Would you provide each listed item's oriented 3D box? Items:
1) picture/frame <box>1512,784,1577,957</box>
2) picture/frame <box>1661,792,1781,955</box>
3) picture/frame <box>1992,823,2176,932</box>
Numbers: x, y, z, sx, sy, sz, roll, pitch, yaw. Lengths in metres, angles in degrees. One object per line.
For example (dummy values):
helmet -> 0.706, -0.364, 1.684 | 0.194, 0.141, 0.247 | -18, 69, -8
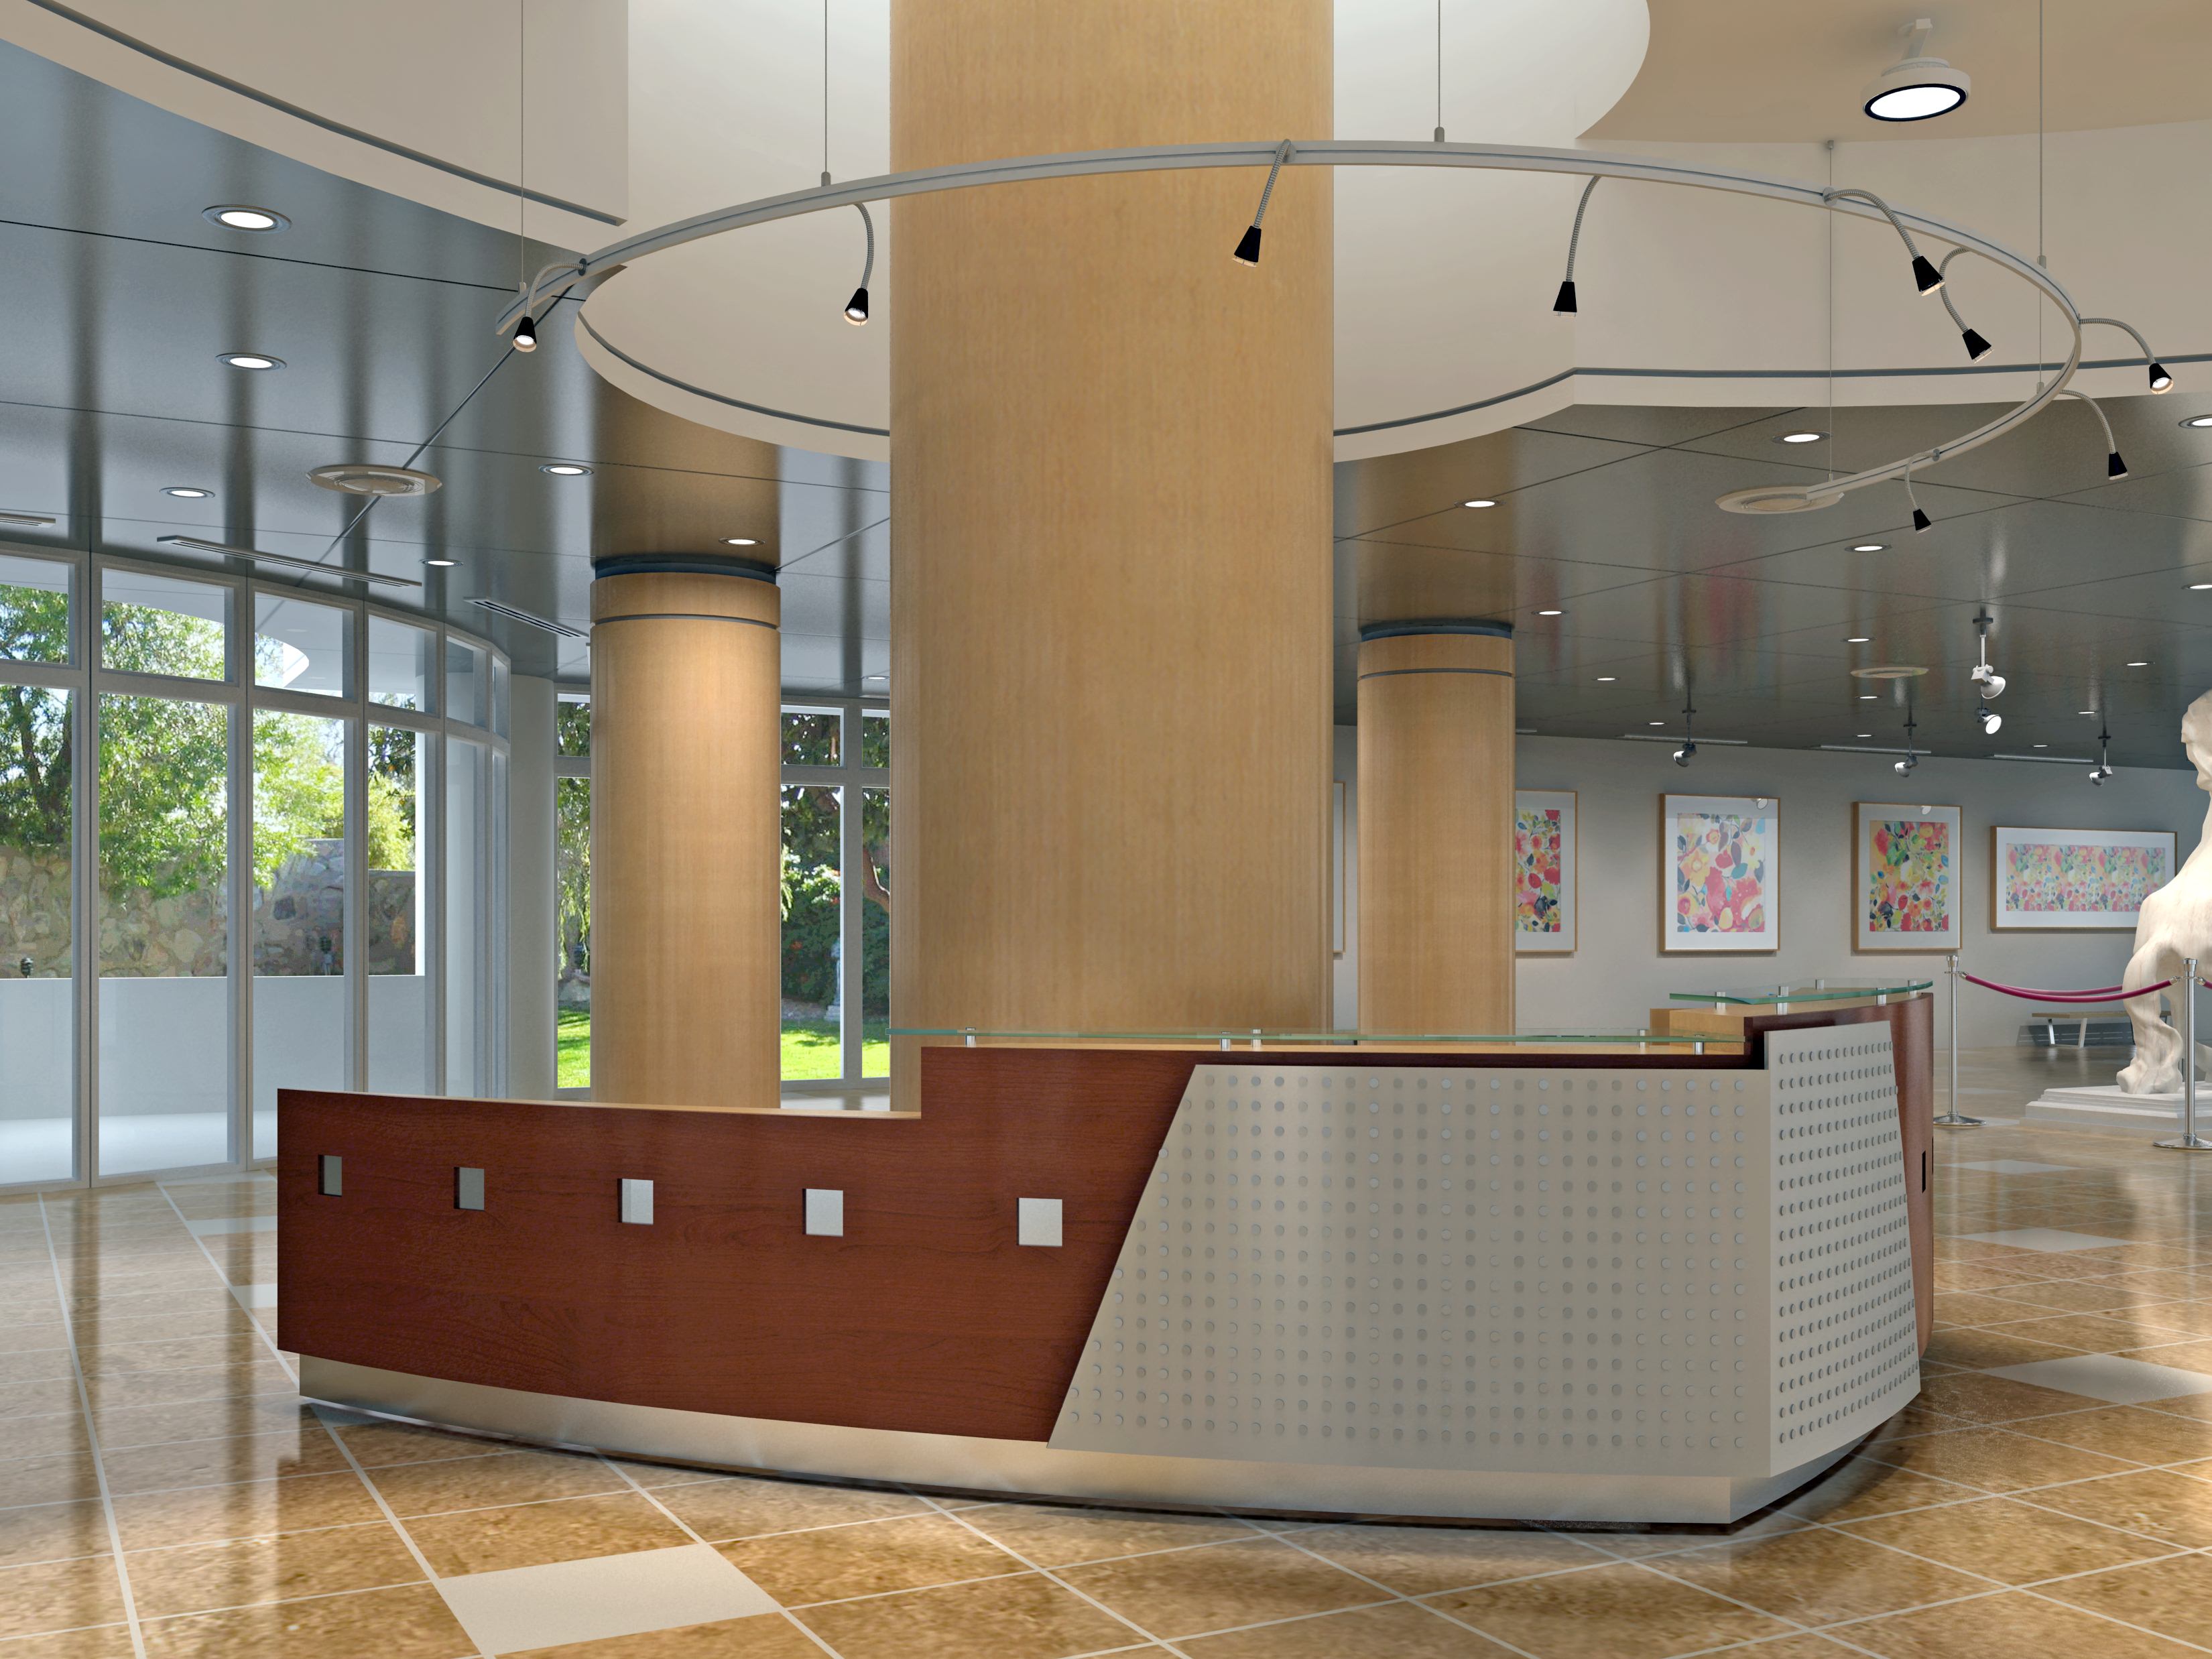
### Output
picture/frame -> 4.867, 0.474, 22.247 | 0.955, 1.828, 0.159 | -1, 2, -32
picture/frame -> 7.084, 0.519, 23.424 | 1.874, 1.942, 0.136 | 6, -12, -37
picture/frame -> 13.086, 0.684, 26.924 | 3.137, 1.408, 0.078 | 1, -2, -21
